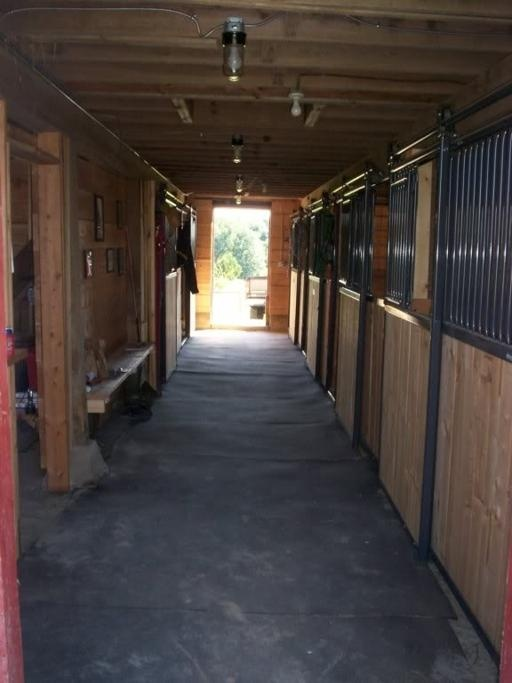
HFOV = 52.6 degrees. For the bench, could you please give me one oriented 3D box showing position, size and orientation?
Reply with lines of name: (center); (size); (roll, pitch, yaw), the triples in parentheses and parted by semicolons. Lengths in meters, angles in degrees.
bench: (-1.204, 0.459, 4.623); (0.518, 0.674, 2.209); (0, 5, -11)
